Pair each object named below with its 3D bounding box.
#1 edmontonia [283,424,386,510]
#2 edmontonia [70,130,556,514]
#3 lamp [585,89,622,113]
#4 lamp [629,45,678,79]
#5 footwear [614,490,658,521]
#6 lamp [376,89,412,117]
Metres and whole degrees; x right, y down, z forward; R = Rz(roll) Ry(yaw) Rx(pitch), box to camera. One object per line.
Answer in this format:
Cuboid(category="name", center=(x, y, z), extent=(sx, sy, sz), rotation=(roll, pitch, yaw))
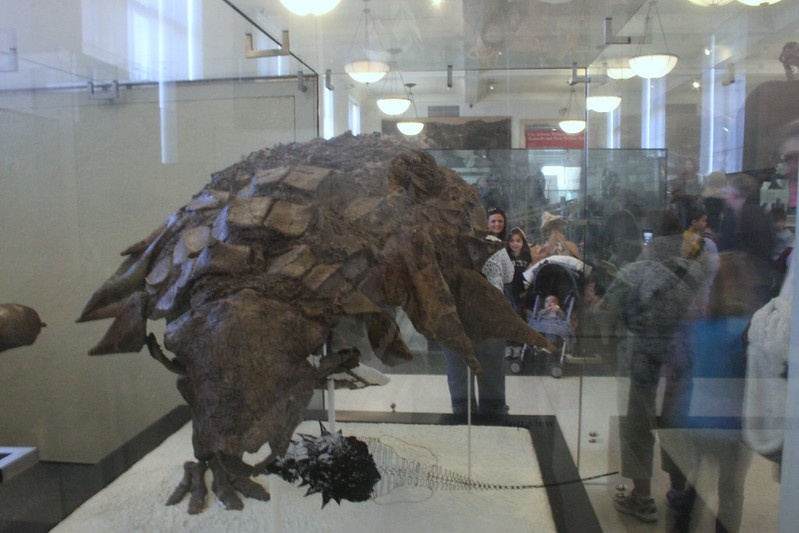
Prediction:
Cuboid(category="edmontonia", center=(-0.348, 0.780, 3.060), extent=(0.490, 0.305, 0.353), rotation=(-8, 19, -39))
Cuboid(category="edmontonia", center=(-0.419, 0.082, 2.724), extent=(1.614, 1.175, 0.817), rotation=(2, 8, 15))
Cuboid(category="lamp", center=(0.801, -0.638, 2.763), extent=(0.090, 0.036, 0.090), rotation=(-1, 3, -26))
Cuboid(category="lamp", center=(0.994, -0.783, 2.808), extent=(0.201, 0.079, 0.208), rotation=(0, -6, 39))
Cuboid(category="footwear", center=(1.014, 1.027, 3.038), extent=(0.199, 0.119, 0.086), rotation=(11, 10, 21))
Cuboid(category="lamp", center=(-0.017, -0.605, 2.621), extent=(0.086, 0.043, 0.085), rotation=(-4, 6, -40))
